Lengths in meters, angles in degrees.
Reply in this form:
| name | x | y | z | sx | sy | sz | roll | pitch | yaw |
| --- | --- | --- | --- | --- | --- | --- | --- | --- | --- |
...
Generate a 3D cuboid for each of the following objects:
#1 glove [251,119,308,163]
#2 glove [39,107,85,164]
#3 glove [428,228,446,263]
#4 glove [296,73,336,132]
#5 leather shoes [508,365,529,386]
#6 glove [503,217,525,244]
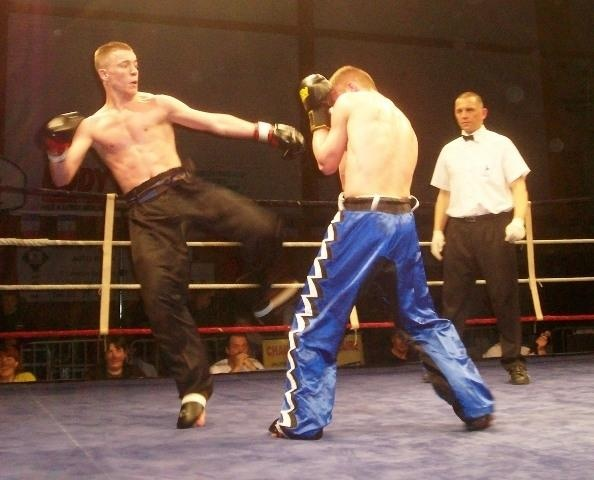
| name | x | y | z | sx | sy | sz | roll | pitch | yaw |
| --- | --- | --- | --- | --- | --- | --- | --- | --- | --- |
| glove | -0.095 | -0.444 | 2.856 | 0.268 | 0.094 | 0.174 | 14 | 13 | 5 |
| glove | -0.930 | -0.429 | 2.732 | 0.088 | 0.211 | 0.180 | -3 | -3 | 34 |
| glove | 0.769 | 0.029 | 3.646 | 0.049 | 0.139 | 0.110 | 21 | -23 | -36 |
| glove | 0.073 | -0.562 | 2.782 | 0.183 | 0.206 | 0.102 | -6 | 5 | -13 |
| leather shoes | 1.108 | 0.661 | 3.383 | 0.111 | 0.101 | 0.145 | -2 | -2 | 13 |
| glove | 1.080 | -0.045 | 3.359 | 0.094 | 0.115 | 0.060 | 2 | -27 | 39 |
